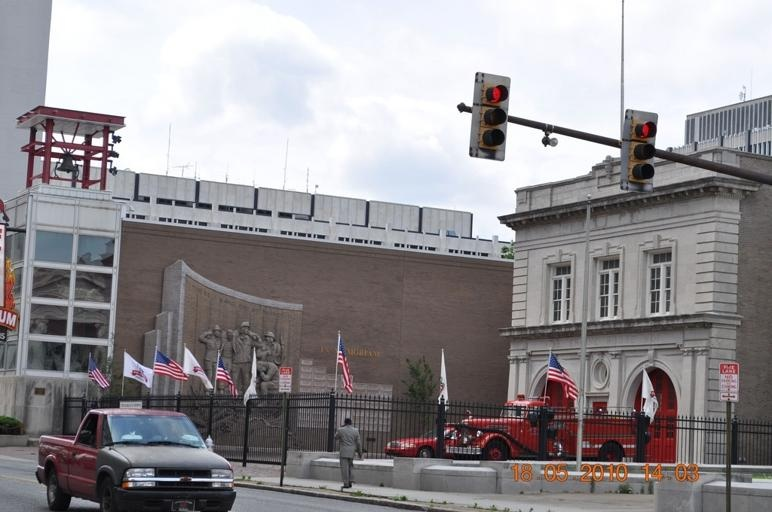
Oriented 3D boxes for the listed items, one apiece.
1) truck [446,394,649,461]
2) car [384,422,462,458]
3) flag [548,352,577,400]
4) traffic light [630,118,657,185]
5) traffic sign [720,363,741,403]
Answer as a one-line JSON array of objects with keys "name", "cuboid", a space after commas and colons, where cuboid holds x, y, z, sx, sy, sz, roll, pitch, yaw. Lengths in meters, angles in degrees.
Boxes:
[{"name": "truck", "cuboid": [7.078, 7.933, 58.674, 8.410, 2.555, 3.697, 7, -10, -28]}, {"name": "car", "cuboid": [1.700, 8.602, 61.618, 3.643, 1.199, 1.626, 4, -9, -15]}, {"name": "flag", "cuboid": [8.786, 5.778, 64.436, 1.291, 2.025, 2.234, 0, -9, 11]}, {"name": "traffic light", "cuboid": [8.936, -3.572, 45.037, 0.838, 2.377, 0.530, 1, -9, 6]}, {"name": "traffic sign", "cuboid": [11.896, 4.336, 45.145, 0.431, 1.316, 0.774, -5, -12, 38]}]
